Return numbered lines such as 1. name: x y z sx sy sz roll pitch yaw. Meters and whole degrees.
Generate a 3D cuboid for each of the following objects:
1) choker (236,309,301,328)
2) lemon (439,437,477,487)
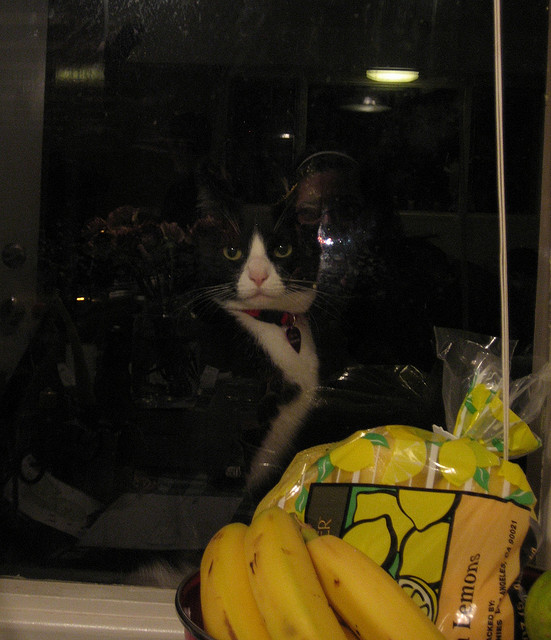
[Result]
1. choker: -0.010 -0.004 1.319 0.112 0.036 0.006 2 4 -2
2. lemon: 0.280 0.224 1.032 0.059 0.061 0.048 1 5 -6
